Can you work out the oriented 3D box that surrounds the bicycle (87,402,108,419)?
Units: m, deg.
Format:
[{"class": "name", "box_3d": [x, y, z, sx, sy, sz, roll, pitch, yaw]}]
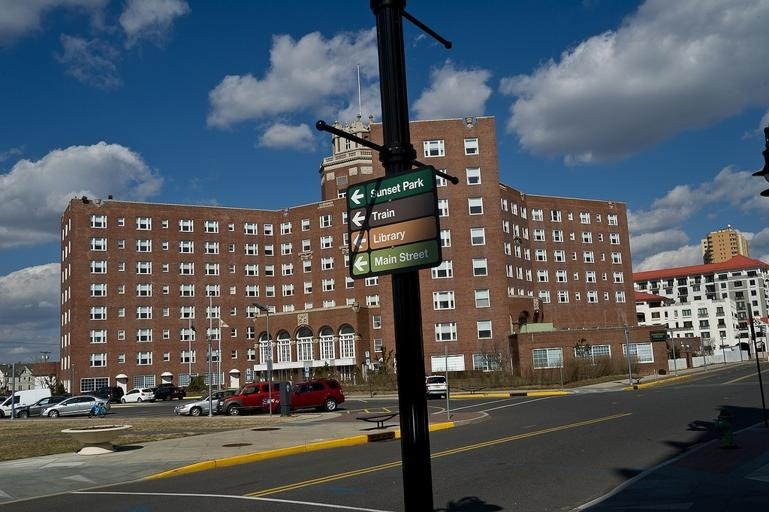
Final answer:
[{"class": "bicycle", "box_3d": [-23.135, 12.433, 61.707, 2.280, 1.351, 1.094, -2, -9, 24]}]

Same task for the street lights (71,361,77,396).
[{"class": "street lights", "box_3d": [-36.119, 14.239, 89.511, 0.919, 3.283, 0.321, -11, -17, 27]}]

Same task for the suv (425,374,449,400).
[{"class": "suv", "box_3d": [3.956, 9.922, 58.469, 1.384, 1.799, 1.640, -3, -15, 0]}]

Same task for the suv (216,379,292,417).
[{"class": "suv", "box_3d": [-9.282, 10.080, 54.309, 5.531, 2.230, 2.613, 1, -12, -2]}]

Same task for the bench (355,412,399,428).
[{"class": "bench", "box_3d": [-0.344, 8.987, 41.875, 1.555, 0.809, 3.824, -4, -15, 3]}]

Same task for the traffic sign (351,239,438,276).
[{"class": "traffic sign", "box_3d": [0.342, 0.084, 23.399, 2.822, 0.868, 0.299, -8, -15, 15]}]

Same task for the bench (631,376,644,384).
[{"class": "bench", "box_3d": [21.055, 10.421, 64.268, 1.098, 0.520, 1.404, -2, -1, 19]}]
